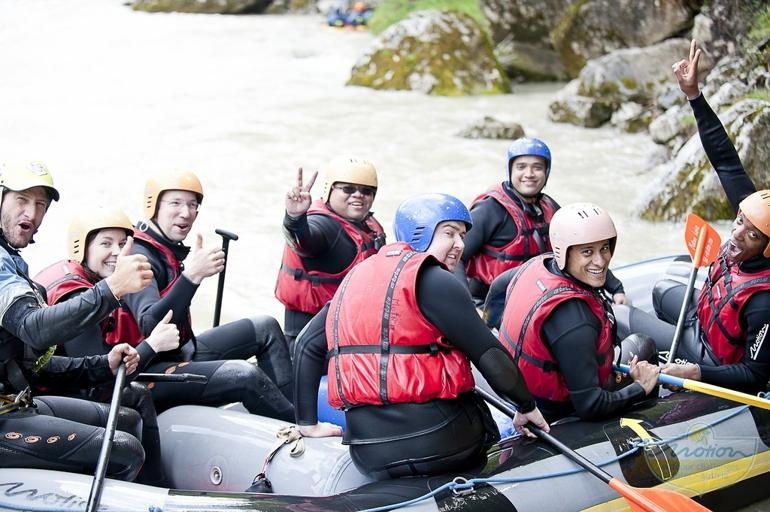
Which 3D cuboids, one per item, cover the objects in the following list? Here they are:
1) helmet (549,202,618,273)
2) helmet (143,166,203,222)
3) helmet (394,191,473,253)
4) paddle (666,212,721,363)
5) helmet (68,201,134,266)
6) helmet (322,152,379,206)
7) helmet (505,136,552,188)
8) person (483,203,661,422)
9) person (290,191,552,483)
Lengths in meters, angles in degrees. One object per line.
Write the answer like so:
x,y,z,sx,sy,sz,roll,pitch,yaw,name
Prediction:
1.183,-0.117,5.178,0.359,0.383,0.408,1,-5,-35,helmet
-1.485,-0.421,5.872,0.401,0.321,0.312,15,-14,-3,helmet
0.291,-0.213,4.895,0.420,0.330,0.309,-2,-16,8,helmet
2.415,0.127,6.318,0.416,1.297,0.054,5,-21,47,paddle
-1.920,-0.154,5.494,0.401,0.352,0.327,-4,-7,26,helmet
-0.272,-0.604,6.397,0.279,0.284,0.359,11,-19,-36,helmet
1.228,-0.820,6.875,0.315,0.393,0.426,3,-9,2,helmet
1.210,0.403,5.510,0.684,1.201,0.846,-23,42,-8,person
0.174,0.502,4.847,1.451,1.568,0.626,0,16,-2,person
